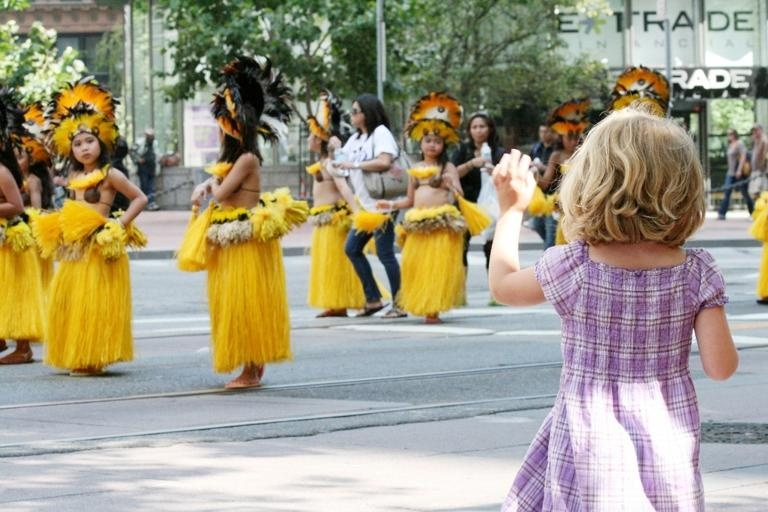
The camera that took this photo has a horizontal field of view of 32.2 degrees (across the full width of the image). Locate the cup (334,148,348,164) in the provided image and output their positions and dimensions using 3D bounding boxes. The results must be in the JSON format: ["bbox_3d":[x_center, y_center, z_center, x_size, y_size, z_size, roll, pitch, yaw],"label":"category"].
[{"bbox_3d":[-0.419,-1.057,13.590,0.128,0.118,0.129,0,11,0],"label":"cup"}]

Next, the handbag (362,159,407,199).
[{"bbox_3d":[-0.001,-0.799,13.545,0.167,0.330,0.397,-14,3,43],"label":"handbag"}]

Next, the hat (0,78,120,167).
[{"bbox_3d":[-2.594,-1.222,11.424,0.966,0.474,0.897,-13,8,18],"label":"hat"}]

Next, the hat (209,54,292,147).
[{"bbox_3d":[-1.024,-1.264,10.668,0.367,0.694,0.744,-23,-40,35],"label":"hat"}]

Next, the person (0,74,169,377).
[{"bbox_3d":[-2.422,-0.238,11.095,0.911,2.488,0.821,-3,12,-10],"label":"person"}]

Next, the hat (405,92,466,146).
[{"bbox_3d":[0.553,-1.453,13.818,0.562,0.536,0.592,9,14,41],"label":"hat"}]

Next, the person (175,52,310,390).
[{"bbox_3d":[-1.088,-0.274,10.656,0.989,2.650,0.887,-1,12,-3],"label":"person"}]

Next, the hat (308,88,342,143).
[{"bbox_3d":[-0.603,-1.488,13.830,0.339,0.525,0.491,-1,11,-3],"label":"hat"}]
